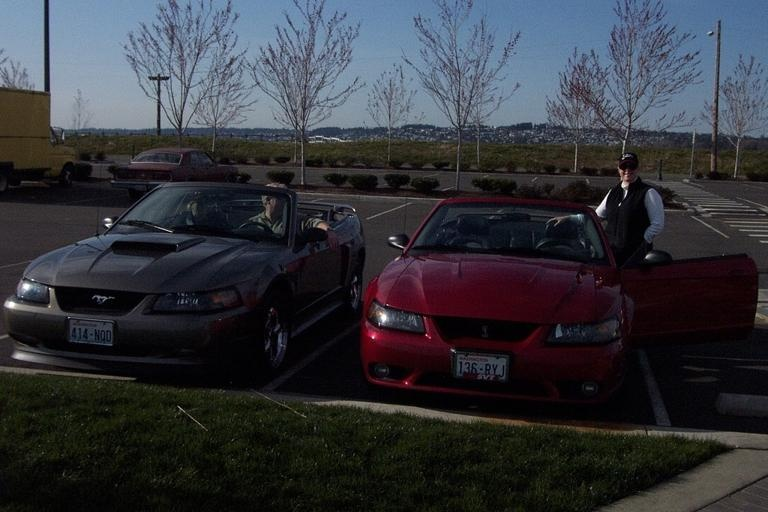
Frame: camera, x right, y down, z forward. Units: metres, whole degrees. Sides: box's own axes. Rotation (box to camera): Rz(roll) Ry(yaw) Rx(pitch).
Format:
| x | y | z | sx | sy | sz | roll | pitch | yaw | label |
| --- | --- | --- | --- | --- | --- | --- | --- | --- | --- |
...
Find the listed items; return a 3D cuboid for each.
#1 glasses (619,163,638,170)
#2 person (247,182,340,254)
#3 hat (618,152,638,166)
| x | y | z | sx | sy | sz | roll | pitch | yaw | label |
| --- | --- | --- | --- | --- | --- | --- | --- | --- | --- |
| 3.094 | -1.155 | 6.860 | 0.111 | 0.048 | 0.127 | 0 | -5 | 28 | glasses |
| -1.335 | -0.487 | 7.017 | 0.945 | 0.983 | 0.379 | 6 | -9 | -30 | person |
| 3.133 | -1.257 | 6.934 | 0.221 | 0.190 | 0.390 | 6 | 8 | 23 | hat |
